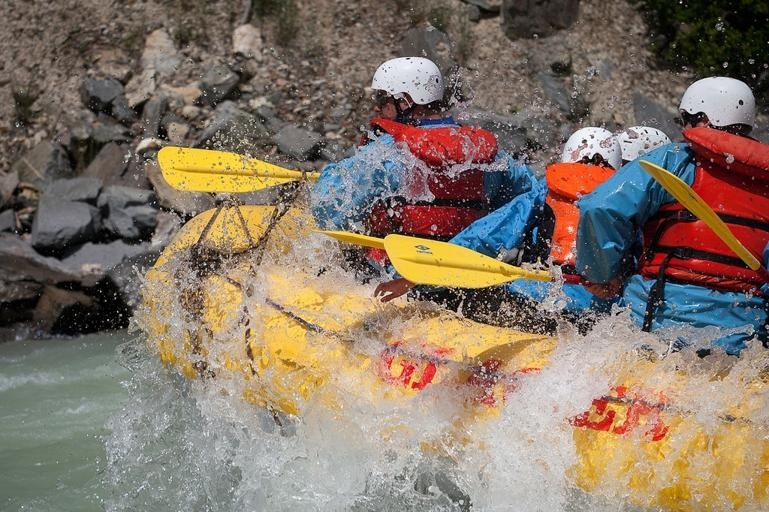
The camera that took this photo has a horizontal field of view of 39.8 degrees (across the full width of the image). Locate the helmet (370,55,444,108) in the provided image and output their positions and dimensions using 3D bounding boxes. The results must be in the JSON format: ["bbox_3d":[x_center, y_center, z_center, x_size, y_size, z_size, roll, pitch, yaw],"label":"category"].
[{"bbox_3d":[0.187,-1.404,8.329,0.590,0.359,0.470,-3,20,-11],"label":"helmet"}]

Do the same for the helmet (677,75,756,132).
[{"bbox_3d":[2.449,-1.083,7.840,0.563,0.455,0.442,7,0,39],"label":"helmet"}]

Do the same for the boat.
[{"bbox_3d":[0.461,0.796,7.809,4.247,1.020,1.982,15,7,21],"label":"boat"}]

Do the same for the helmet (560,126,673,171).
[{"bbox_3d":[1.820,-0.877,8.380,0.682,0.279,0.477,0,1,-31],"label":"helmet"}]

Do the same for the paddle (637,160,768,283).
[{"bbox_3d":[2.234,-0.253,7.362,1.107,0.122,0.056,47,16,-1],"label":"paddle"}]
